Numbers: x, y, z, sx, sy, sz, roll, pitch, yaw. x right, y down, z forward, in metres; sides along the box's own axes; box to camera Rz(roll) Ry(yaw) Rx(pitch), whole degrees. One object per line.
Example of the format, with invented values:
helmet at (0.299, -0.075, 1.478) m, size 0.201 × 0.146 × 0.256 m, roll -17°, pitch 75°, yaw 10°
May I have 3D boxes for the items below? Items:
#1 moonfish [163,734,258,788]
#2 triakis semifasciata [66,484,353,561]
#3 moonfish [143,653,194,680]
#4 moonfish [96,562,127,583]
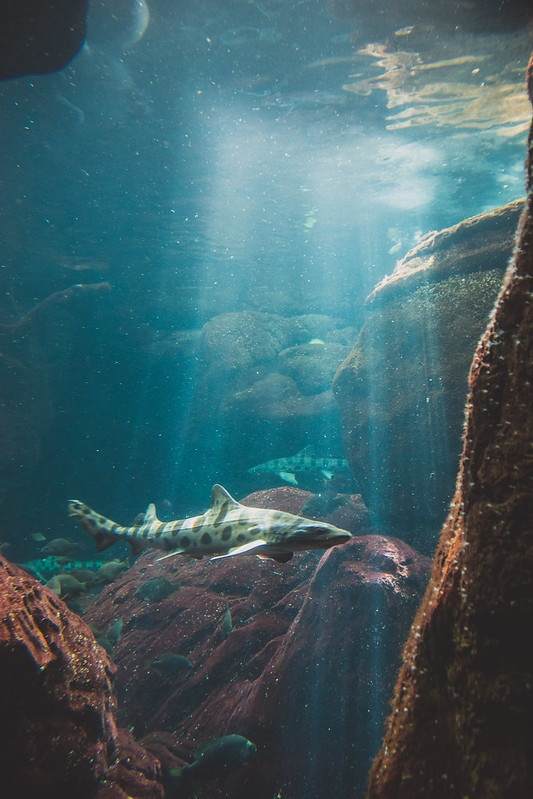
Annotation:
moonfish at (-0.722, 4.707, 8.715) m, size 1.116 × 0.469 × 0.232 m, roll -2°, pitch 13°, yaw -6°
triakis semifasciata at (-0.583, 1.832, 9.117) m, size 4.986 × 1.198 × 1.557 m, roll -3°, pitch -9°, yaw 32°
moonfish at (-1.536, 4.129, 10.323) m, size 0.879 × 0.388 × 0.242 m, roll 5°, pitch 14°, yaw 23°
moonfish at (-3.270, 3.631, 13.867) m, size 0.621 × 0.415 × 0.367 m, roll -11°, pitch 17°, yaw -40°
